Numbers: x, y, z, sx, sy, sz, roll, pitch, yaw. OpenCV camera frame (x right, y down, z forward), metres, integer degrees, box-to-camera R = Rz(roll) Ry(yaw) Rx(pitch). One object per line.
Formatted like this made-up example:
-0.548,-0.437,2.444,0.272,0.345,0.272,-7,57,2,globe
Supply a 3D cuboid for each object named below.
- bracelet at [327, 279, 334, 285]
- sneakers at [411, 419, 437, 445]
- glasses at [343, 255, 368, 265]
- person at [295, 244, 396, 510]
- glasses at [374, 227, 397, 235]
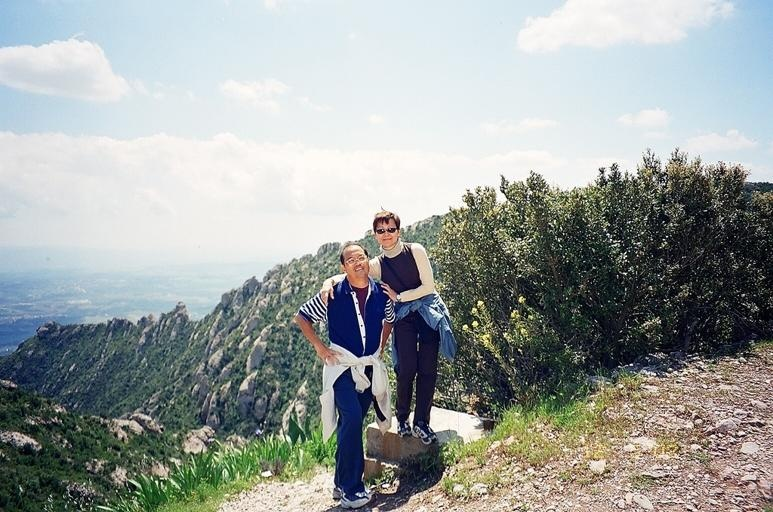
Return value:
-0.863,0.414,7.885,0.082,0.046,0.112,-4,7,5,bracelet
0.640,2.926,8.234,0.459,0.209,0.252,7,9,43,sneakers
-0.495,0.070,7.752,0.356,0.200,0.097,5,-11,-7,glasses
-0.514,1.860,7.793,1.423,4.046,0.727,12,-14,-41,person
0.005,-0.406,8.077,0.356,0.128,0.073,4,-11,-3,glasses
